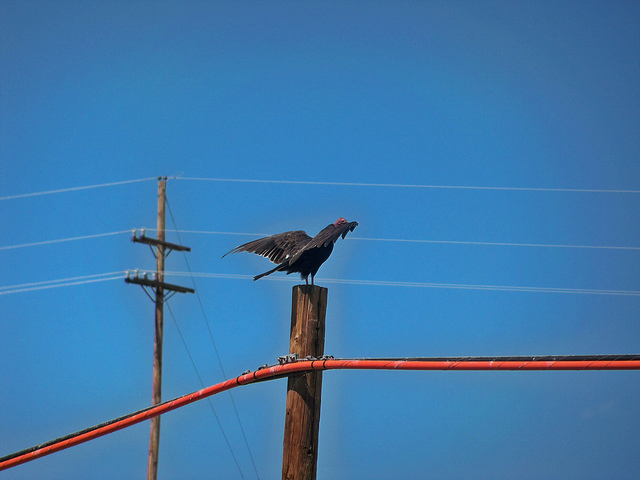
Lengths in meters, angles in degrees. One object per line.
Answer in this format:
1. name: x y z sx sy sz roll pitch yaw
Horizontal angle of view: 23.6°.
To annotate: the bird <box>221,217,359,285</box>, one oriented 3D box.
1. bird: -0.300 0.114 22.973 1.076 1.509 0.676 5 -86 -42
